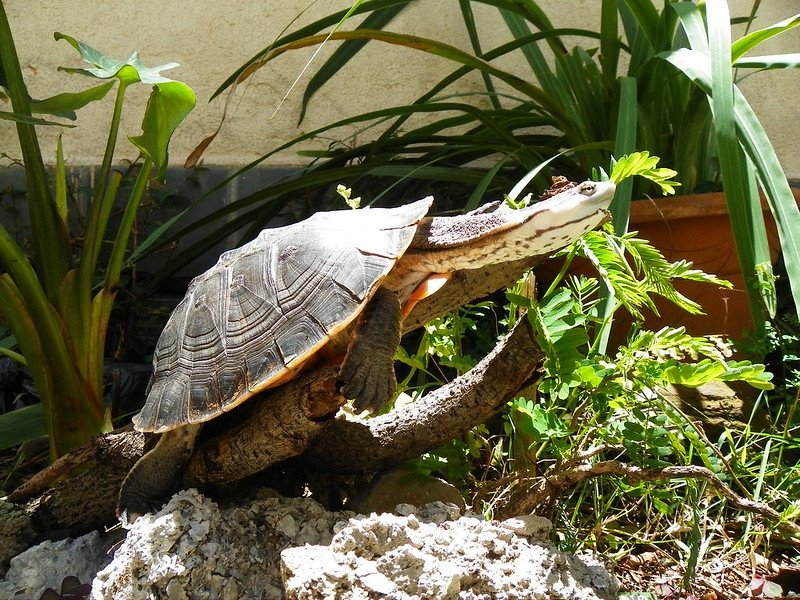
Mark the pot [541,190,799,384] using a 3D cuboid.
[{"bbox_3d":[1.131,-0.071,3.332,0.831,0.525,0.809,-3,4,0],"label":"pot"}]
